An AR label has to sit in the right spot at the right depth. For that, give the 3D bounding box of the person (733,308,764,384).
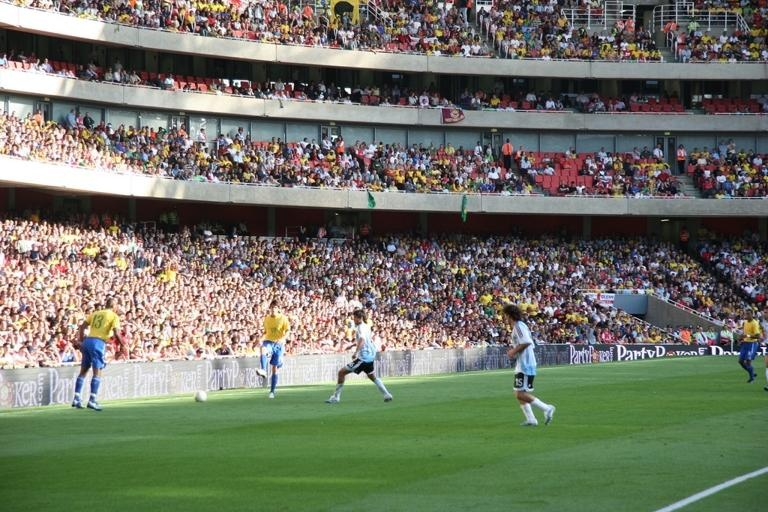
[{"bbox_3d":[14.271,3.417,59.556,1.125,3.328,1.349,-1,-1,7],"label":"person"}]

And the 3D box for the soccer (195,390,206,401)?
[{"bbox_3d":[-6.636,5.023,54.866,0.416,0.419,0.425,1,13,-10],"label":"soccer"}]
